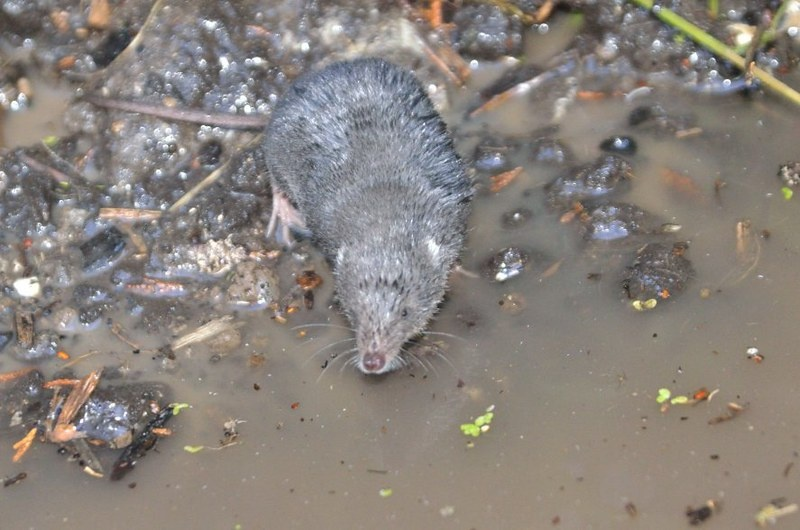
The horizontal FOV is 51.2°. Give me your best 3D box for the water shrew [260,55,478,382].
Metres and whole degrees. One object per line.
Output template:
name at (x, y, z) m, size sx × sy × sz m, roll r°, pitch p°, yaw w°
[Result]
water shrew at (-0.138, -0.619, 7.688) m, size 1.542 × 0.447 × 2.841 m, roll -19°, pitch 73°, yaw -4°
